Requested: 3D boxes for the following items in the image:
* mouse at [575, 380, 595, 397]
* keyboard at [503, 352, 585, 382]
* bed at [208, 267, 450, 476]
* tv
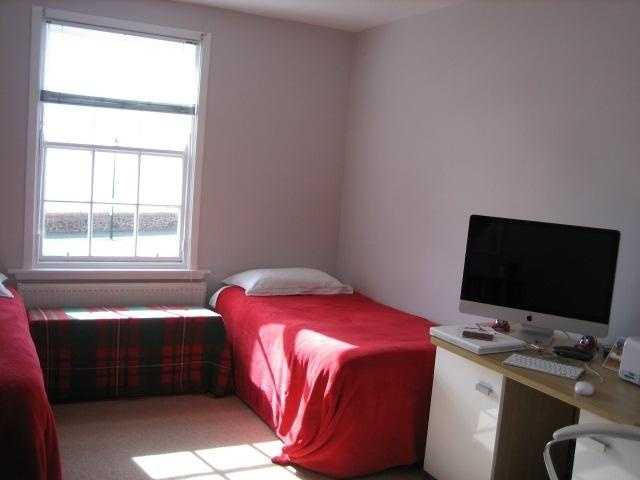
[{"bbox_3d":[1.069,0.600,1.855,0.065,0.050,0.105,4,5,35],"label":"mouse"},{"bbox_3d":[1.039,0.579,2.134,0.324,0.038,0.253,3,4,30],"label":"keyboard"},{"bbox_3d":[-0.035,0.777,3.029,1.019,0.496,1.329,-2,5,-29],"label":"bed"},{"bbox_3d":[1.170,0.219,2.415,0.642,0.559,0.168,9,6,26],"label":"tv"}]
